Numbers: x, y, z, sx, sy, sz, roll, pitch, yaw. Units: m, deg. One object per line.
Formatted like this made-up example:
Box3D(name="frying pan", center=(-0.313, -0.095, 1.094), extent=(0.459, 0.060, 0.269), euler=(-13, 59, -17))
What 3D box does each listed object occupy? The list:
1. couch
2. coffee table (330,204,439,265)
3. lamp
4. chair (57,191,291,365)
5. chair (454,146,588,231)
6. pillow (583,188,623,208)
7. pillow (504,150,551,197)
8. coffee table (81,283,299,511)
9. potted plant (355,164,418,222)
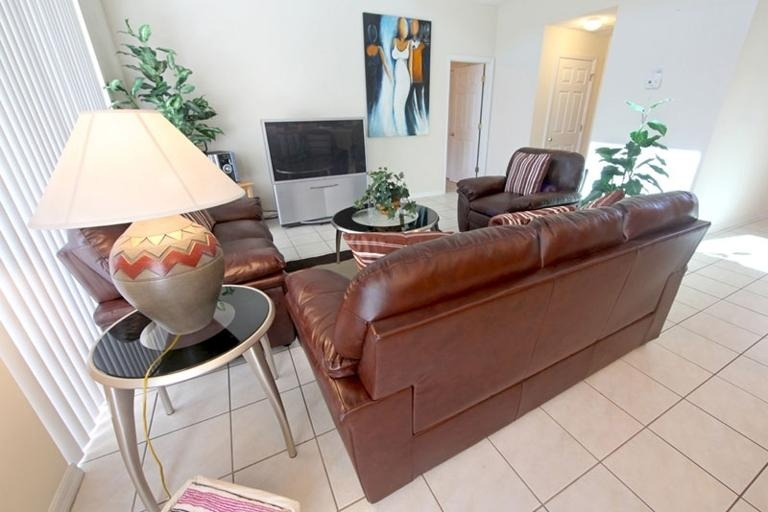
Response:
Box3D(name="couch", center=(0.840, 0.220, 3.642), extent=(2.979, 1.512, 1.584), euler=(-15, 28, -23))
Box3D(name="coffee table", center=(0.017, -0.185, 3.626), extent=(0.484, 0.248, 0.470), euler=(-21, 41, -26))
Box3D(name="lamp", center=(-1.377, -0.174, 2.866), extent=(0.967, 1.244, 1.073), euler=(2, 17, 34))
Box3D(name="chair", center=(-1.451, -0.078, 3.691), extent=(0.795, 0.747, 1.389), euler=(-25, 8, 21))
Box3D(name="chair", center=(1.397, -0.587, 4.991), extent=(0.955, 0.943, 0.965), euler=(-16, 29, -31))
Box3D(name="pillow", center=(1.530, -0.387, 3.275), extent=(0.178, 0.053, 0.176), euler=(-37, 22, -33))
Box3D(name="pillow", center=(1.512, -0.853, 5.015), extent=(0.253, 0.440, 0.490), euler=(-10, 17, -24))
Box3D(name="coffee table", center=(-1.169, 0.744, 3.306), extent=(1.231, 1.371, 1.250), euler=(-9, 33, -27))
Box3D(name="potted plant", center=(0.055, -0.582, 4.441), extent=(0.462, 0.288, 0.416), euler=(-7, 13, 47))
